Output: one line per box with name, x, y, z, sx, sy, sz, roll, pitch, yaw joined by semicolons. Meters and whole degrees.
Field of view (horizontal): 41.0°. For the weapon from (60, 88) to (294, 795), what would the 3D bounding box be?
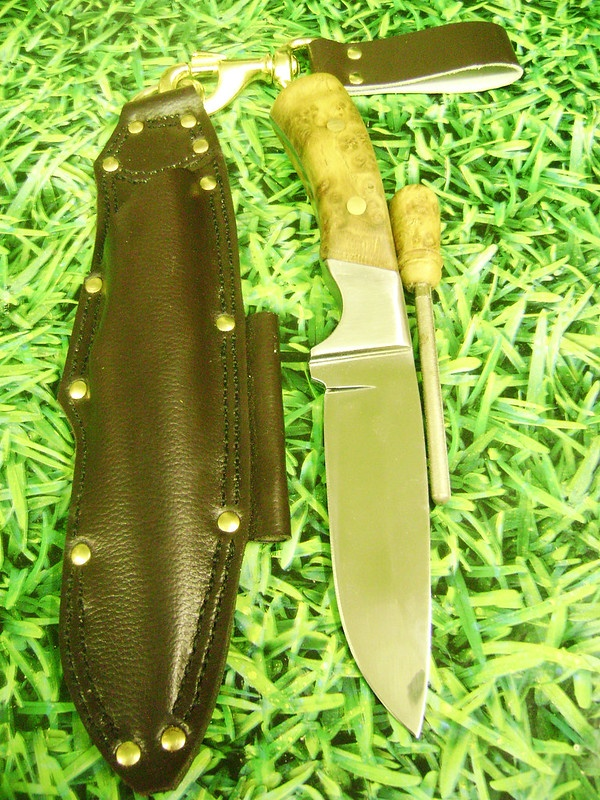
weapon;-0.140;-0.014;0.804;0.246;0.038;0.610;-2;64;4
